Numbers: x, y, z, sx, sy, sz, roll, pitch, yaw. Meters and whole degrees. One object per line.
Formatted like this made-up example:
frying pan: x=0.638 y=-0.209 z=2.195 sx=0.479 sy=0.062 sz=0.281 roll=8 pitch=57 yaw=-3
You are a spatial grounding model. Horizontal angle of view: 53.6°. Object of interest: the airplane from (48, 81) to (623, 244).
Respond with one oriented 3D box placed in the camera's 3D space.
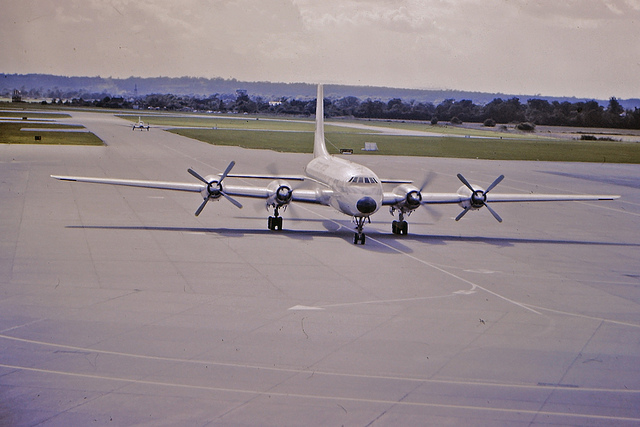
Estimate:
airplane: x=2.439 y=-2.560 z=41.198 sx=25.010 sy=6.869 sz=19.862 roll=5 pitch=0 yaw=27
